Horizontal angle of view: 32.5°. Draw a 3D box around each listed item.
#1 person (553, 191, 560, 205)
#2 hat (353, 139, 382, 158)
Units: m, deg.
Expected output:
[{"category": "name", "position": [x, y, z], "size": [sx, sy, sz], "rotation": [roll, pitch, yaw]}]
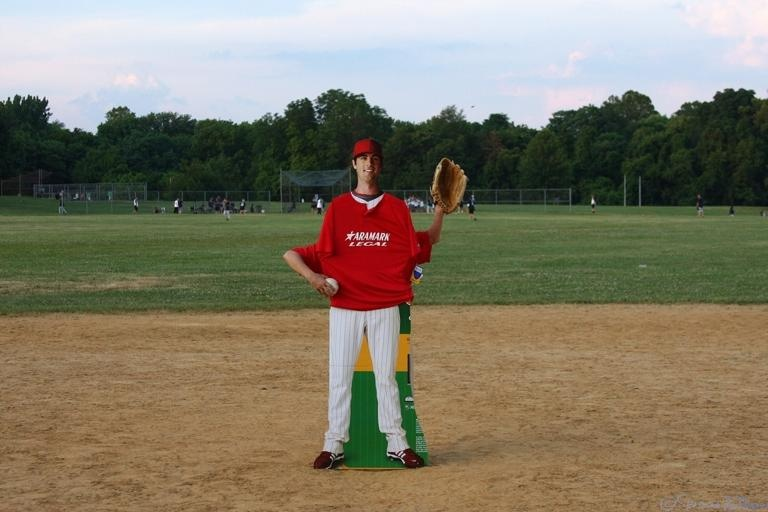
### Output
[{"category": "person", "position": [11.413, -3.966, 87.062], "size": [0.578, 0.922, 0.251], "rotation": [3, 4, 4]}, {"category": "hat", "position": [-0.336, -2.167, 25.998], "size": [0.578, 0.391, 0.447], "rotation": [3, 4, -1]}]
